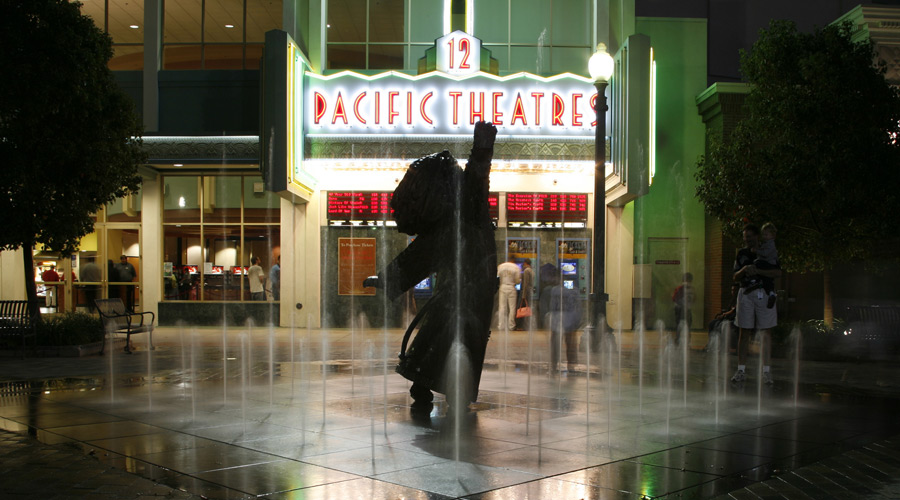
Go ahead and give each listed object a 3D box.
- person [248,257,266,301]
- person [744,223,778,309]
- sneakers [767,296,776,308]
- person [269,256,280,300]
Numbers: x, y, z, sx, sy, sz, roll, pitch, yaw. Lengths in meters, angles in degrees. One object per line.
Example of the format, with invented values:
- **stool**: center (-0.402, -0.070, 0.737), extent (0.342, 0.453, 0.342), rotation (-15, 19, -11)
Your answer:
- **person**: center (-7.264, 1.074, 29.966), extent (0.605, 1.555, 0.571), rotation (-3, 13, -14)
- **person**: center (7.118, 0.380, 18.322), extent (0.835, 1.887, 0.843), rotation (5, 13, 22)
- **sneakers**: center (7.282, 1.179, 18.087), extent (0.178, 0.302, 0.074), rotation (0, 12, 2)
- **person**: center (-6.467, 1.160, 29.638), extent (0.510, 1.438, 0.332), rotation (2, 12, 10)
